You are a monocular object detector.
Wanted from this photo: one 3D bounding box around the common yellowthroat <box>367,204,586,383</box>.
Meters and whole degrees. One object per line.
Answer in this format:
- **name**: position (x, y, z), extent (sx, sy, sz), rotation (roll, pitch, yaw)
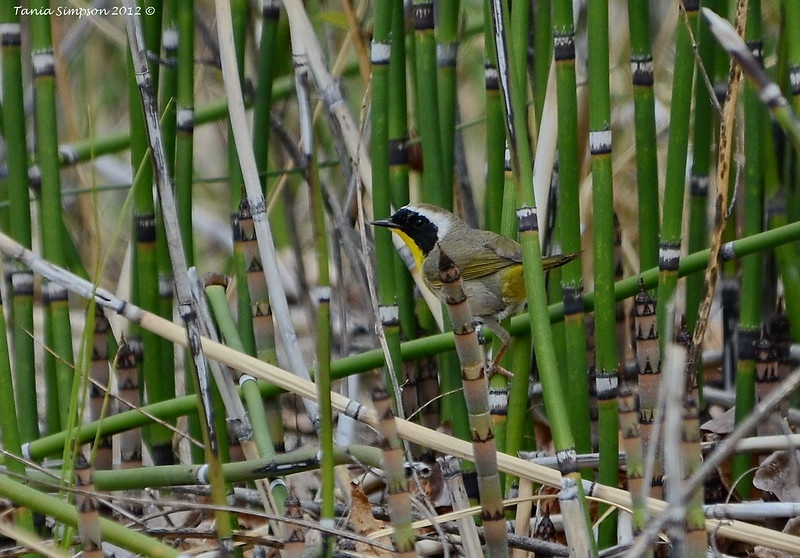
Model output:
- **common yellowthroat**: position (0.169, -0.023, 6.011), extent (1.148, 1.074, 0.481), rotation (-2, 9, 39)
